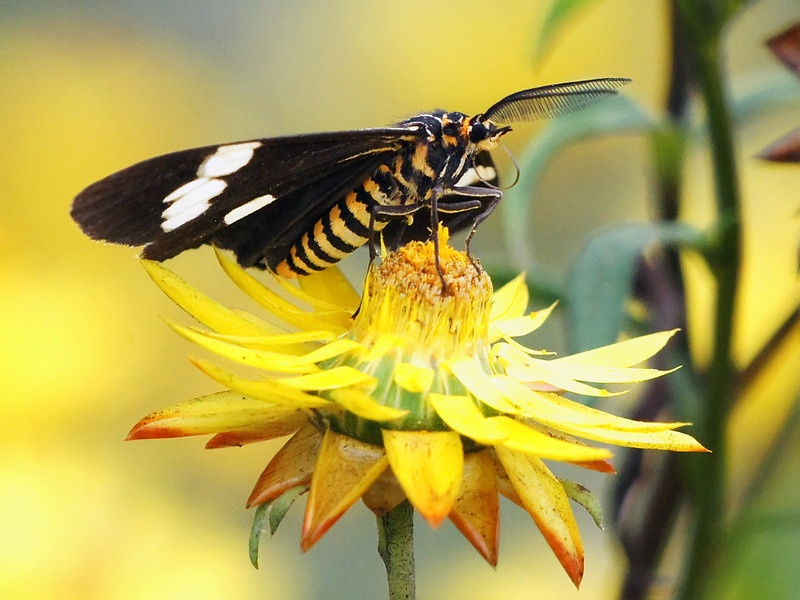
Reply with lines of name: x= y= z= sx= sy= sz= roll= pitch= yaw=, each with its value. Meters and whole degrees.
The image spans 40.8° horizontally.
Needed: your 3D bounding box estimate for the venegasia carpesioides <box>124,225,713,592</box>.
venegasia carpesioides: x=0.002 y=0.130 z=1.550 sx=0.739 sy=0.371 sz=0.757 roll=4 pitch=15 yaw=-30
